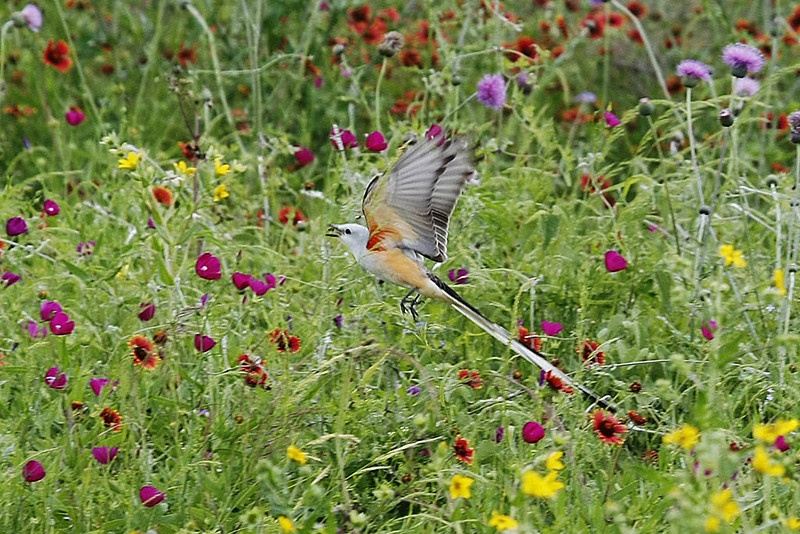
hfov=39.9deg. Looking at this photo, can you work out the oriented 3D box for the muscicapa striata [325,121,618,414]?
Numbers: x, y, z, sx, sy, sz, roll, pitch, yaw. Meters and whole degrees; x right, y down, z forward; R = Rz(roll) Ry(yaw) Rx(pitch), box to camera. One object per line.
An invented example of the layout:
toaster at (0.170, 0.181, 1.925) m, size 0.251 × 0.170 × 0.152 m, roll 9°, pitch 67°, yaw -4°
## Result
muscicapa striata at (0.318, -0.063, 4.546) m, size 1.413 × 0.581 × 1.108 m, roll 14°, pitch 17°, yaw 6°
